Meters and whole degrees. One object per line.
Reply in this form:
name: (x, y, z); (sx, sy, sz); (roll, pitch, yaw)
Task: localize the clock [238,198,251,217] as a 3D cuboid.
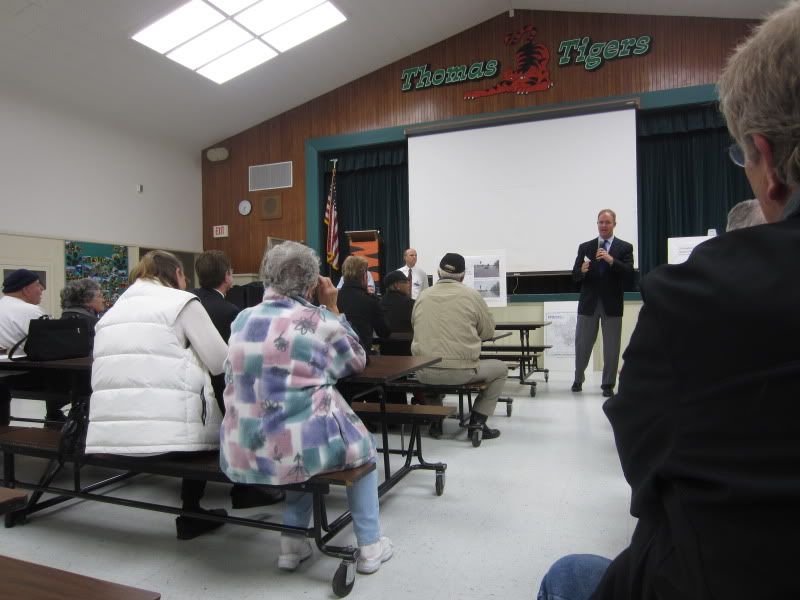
clock: (-2.584, -1.515, 9.783); (0.223, 0.254, 0.053); (3, -3, 27)

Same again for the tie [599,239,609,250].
tie: (1.914, -0.512, 5.501); (0.089, 0.108, 0.101); (-1, 4, -6)

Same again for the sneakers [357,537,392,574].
sneakers: (-0.098, 0.992, 2.328); (0.064, 0.080, 0.172); (0, 2, 25)
